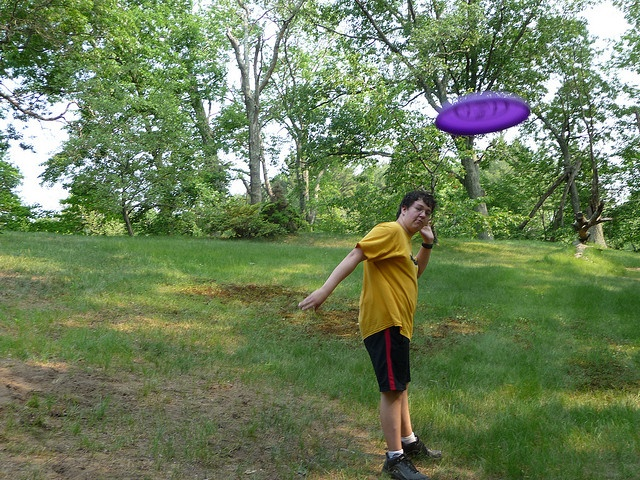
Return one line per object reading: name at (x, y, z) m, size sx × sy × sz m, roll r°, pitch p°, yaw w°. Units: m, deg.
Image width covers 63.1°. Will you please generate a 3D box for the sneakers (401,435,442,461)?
sneakers at (1.374, 2.734, 6.871) m, size 0.666 × 0.266 × 0.214 m, roll 4°, pitch -2°, yaw -8°
